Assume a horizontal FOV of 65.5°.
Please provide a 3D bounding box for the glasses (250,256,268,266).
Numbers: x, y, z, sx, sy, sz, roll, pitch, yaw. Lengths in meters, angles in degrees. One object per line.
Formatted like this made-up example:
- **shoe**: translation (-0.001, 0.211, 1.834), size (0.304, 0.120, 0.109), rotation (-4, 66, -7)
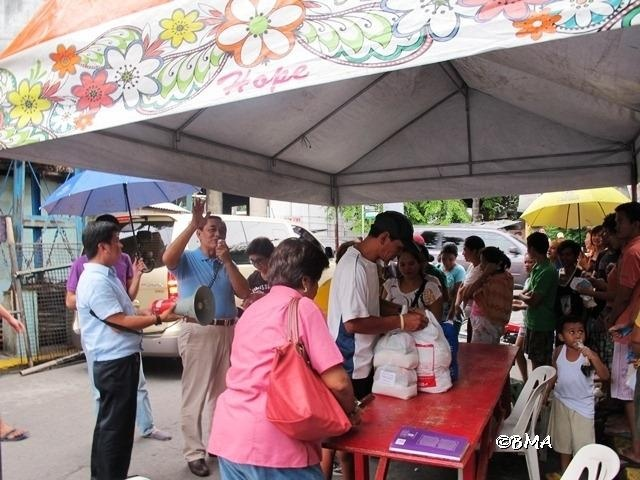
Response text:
- **glasses**: translation (-0.614, 0.206, 5.045), size (0.106, 0.065, 0.144), rotation (-3, -25, 9)

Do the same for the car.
- **car**: translation (4.786, 0.478, 15.391), size (3.816, 1.657, 1.841), rotation (-2, 0, 11)

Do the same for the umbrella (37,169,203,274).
- **umbrella**: translation (-2.518, -0.284, 6.103), size (1.138, 0.992, 1.050), rotation (9, 5, 43)

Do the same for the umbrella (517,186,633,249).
- **umbrella**: translation (4.232, -0.457, 8.333), size (1.085, 1.161, 1.106), rotation (-4, 2, -11)

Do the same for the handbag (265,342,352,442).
- **handbag**: translation (-0.017, 0.745, 2.545), size (0.380, 0.490, 0.368), rotation (11, 10, 22)

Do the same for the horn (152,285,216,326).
- **horn**: translation (-1.108, 0.552, 4.020), size (0.516, 0.371, 0.378), rotation (-4, -12, 20)
